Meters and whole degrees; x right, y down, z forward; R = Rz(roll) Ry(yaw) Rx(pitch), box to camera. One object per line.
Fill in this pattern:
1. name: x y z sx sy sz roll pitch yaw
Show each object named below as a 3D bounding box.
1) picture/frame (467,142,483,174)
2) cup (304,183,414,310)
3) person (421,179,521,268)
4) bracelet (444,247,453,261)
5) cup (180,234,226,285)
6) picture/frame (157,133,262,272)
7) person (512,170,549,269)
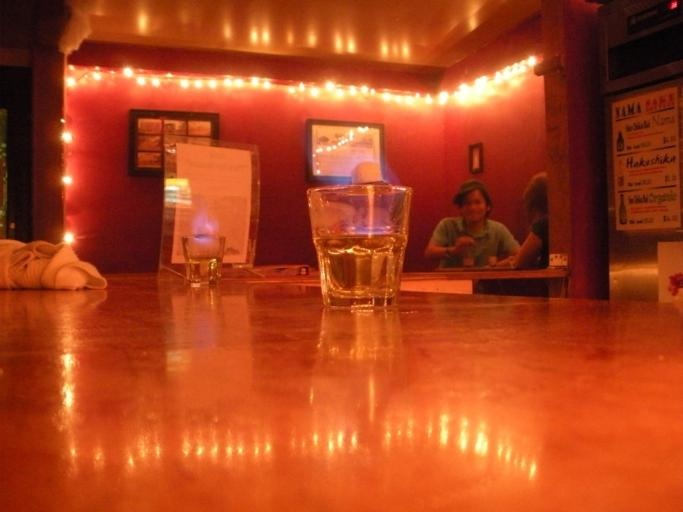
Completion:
1. picture/frame: 1.036 -0.748 4.503 0.023 0.220 0.156 -4 5 -21
2. cup: 0.023 -0.004 0.584 0.107 0.124 0.106 -1 -3 0
3. person: 0.882 -0.127 4.152 0.748 0.886 0.560 0 -4 2
4. bracelet: 0.729 -0.013 3.983 0.047 0.085 0.148 2 1 4
5. cup: -0.263 0.013 1.144 0.085 0.098 0.084 -2 -8 0
6. picture/frame: -0.314 -0.124 1.434 0.214 0.309 0.026 2 2 7
7. person: 1.126 -0.237 3.454 0.171 0.603 0.875 2 1 18
